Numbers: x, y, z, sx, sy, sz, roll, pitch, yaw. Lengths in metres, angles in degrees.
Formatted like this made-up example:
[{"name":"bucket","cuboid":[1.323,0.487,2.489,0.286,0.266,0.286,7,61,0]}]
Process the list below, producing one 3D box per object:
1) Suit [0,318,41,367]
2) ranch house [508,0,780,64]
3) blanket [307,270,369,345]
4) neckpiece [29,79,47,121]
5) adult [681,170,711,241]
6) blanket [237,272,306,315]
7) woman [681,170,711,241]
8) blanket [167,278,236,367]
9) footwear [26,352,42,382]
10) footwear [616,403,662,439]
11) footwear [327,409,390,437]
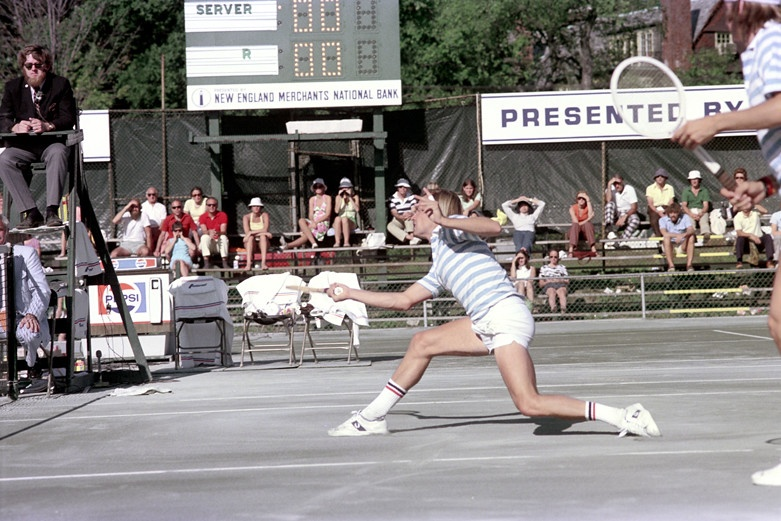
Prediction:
[{"name":"Suit","cuboid":[-5.661,1.298,22.800,0.368,0.790,0.471,-4,4,-7]},{"name":"ranch house","cuboid":[12.795,-10.376,63.004,7.942,2.266,5.128,-3,10,0]},{"name":"blanket","cuboid":[-0.878,0.785,25.559,1.349,1.187,0.512,6,-13,17]},{"name":"neckpiece","cuboid":[-5.599,-2.525,23.039,0.140,0.454,0.356,-6,12,-36]},{"name":"adult","cuboid":[7.080,-1.335,33.389,0.638,0.973,1.690,-4,40,12]},{"name":"blanket","cuboid":[-2.108,0.627,25.750,1.173,0.717,0.500,-3,3,1]},{"name":"woman","cuboid":[7.080,-1.330,33.367,0.638,0.973,1.690,-4,40,12]},{"name":"blanket","cuboid":[-3.507,1.165,26.350,1.324,1.498,1.249,-2,-7,-17]},{"name":"footwear","cuboid":[-5.769,1.735,23.571,0.365,0.435,0.136,-3,5,-5]},{"name":"footwear","cuboid":[3.422,2.219,19.983,0.536,0.448,0.145,-3,4,6]},{"name":"footwear","cuboid":[-0.414,2.342,20.386,0.942,0.356,0.301,0,-5,-2]}]
